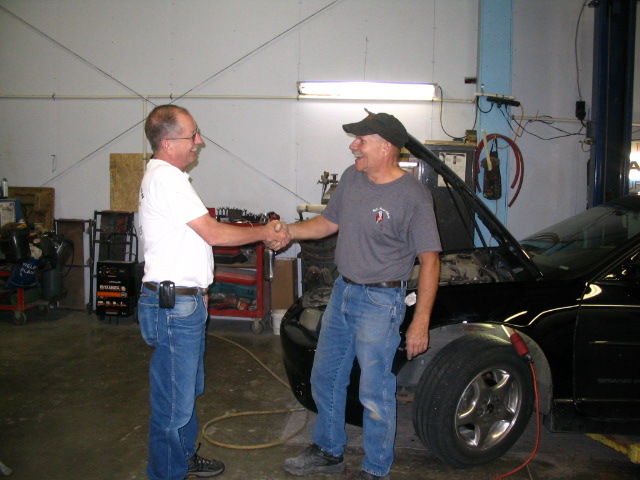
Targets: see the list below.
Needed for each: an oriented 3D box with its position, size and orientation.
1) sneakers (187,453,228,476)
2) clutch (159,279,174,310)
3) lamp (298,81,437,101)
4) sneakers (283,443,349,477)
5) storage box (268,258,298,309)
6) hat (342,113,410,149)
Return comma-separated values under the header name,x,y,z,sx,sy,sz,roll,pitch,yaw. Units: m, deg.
name,x,y,z,sx,sy,sz,roll,pitch,yaw
sneakers,-0.909,1.802,4.798,0.300,0.152,0.125,0,3,-11
clutch,-1.132,0.406,4.426,0.117,0.204,0.028,1,3,2
lamp,0.672,-2.060,8.108,1.911,0.255,0.690,1,3,1
sneakers,-0.051,1.726,4.747,0.453,0.275,0.216,2,-4,0
storage box,-0.523,0.548,8.277,0.360,0.688,0.416,3,13,8
hat,0.433,-0.867,4.629,0.513,0.259,0.340,14,7,2
